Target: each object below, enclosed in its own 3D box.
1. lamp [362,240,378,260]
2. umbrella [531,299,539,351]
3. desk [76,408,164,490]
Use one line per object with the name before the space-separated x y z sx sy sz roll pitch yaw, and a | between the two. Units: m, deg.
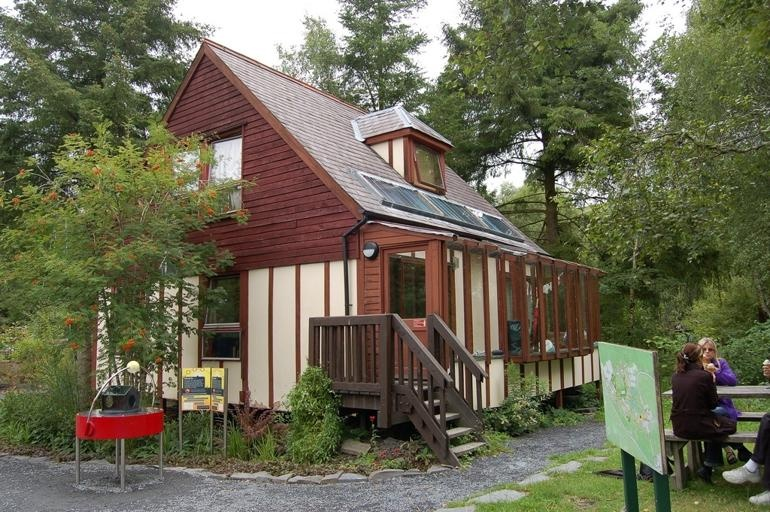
lamp | -0.358 -0.164 15.713 0.392 0.416 0.127 -14 -12 38
umbrella | 4.214 1.918 17.891 0.133 1.324 0.343 1 6 34
desk | -5.521 3.646 13.388 1.546 1.420 1.824 -4 -7 32
